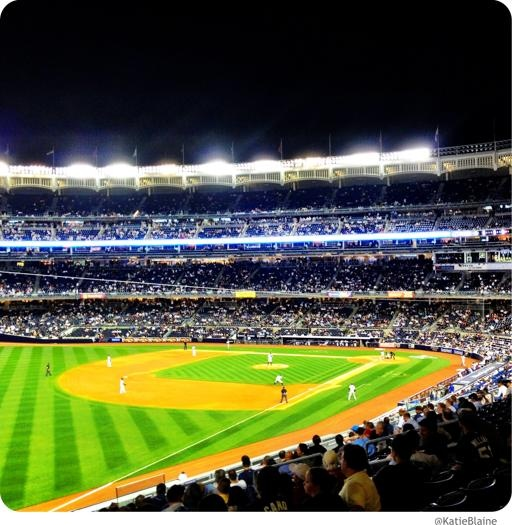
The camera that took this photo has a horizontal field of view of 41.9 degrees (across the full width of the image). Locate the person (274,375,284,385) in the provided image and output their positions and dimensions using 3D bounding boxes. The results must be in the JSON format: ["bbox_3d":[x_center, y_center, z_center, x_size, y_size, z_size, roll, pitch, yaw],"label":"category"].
[{"bbox_3d":[1.234,6.291,35.721,0.587,0.211,0.780,2,4,9],"label":"person"}]
